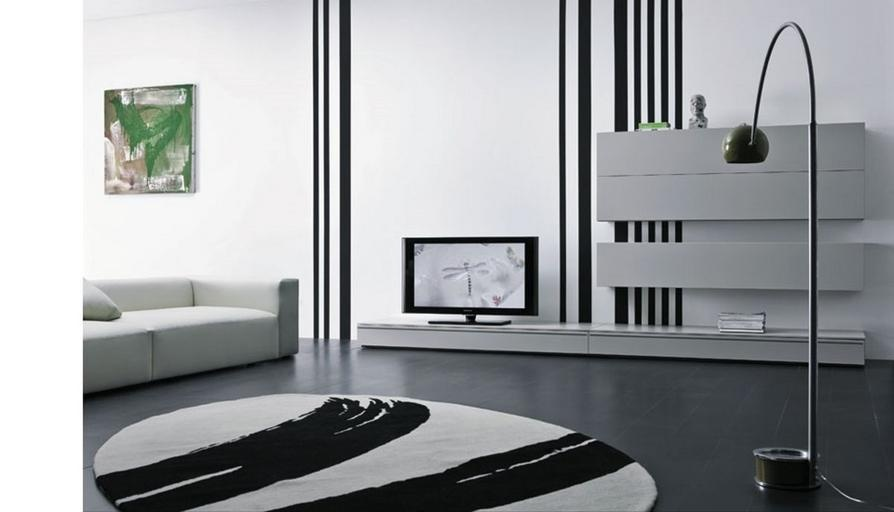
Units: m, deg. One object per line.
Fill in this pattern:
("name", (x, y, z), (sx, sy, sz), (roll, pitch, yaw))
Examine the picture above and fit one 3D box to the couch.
("couch", (-2.171, 0.547, 4.922), (0.918, 0.666, 1.828), (1, 1, 32))
